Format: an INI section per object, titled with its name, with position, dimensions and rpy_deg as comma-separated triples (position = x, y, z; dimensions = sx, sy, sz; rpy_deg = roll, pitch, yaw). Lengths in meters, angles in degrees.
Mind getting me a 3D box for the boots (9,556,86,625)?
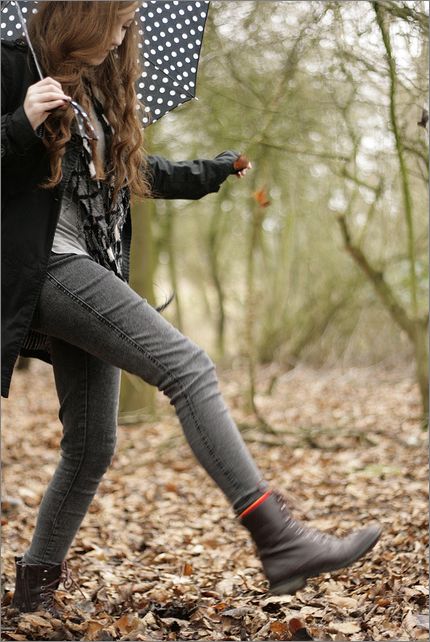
[boots]
position = -0.617, 0.961, 2.326
dimensions = 0.309, 0.217, 0.110
rpy_deg = 4, -1, -11
